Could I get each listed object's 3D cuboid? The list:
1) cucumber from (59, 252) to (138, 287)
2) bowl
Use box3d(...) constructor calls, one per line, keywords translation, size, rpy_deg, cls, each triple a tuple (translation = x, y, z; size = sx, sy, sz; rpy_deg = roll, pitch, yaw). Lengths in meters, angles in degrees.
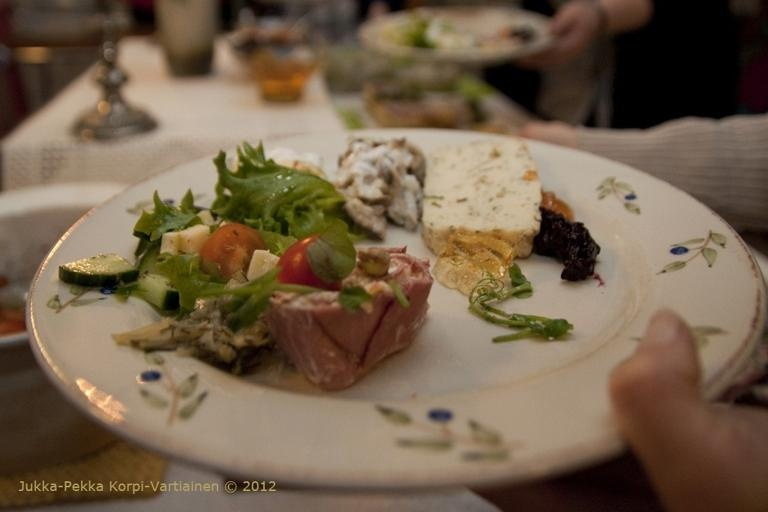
box3d(translation=(-1.329, 0.077, 3.367), size=(0.246, 0.088, 0.363), rpy_deg=(21, 23, 35), cls="cucumber")
box3d(translation=(-0.769, -1.352, 5.176), size=(0.576, 0.415, 0.577), rpy_deg=(-2, 8, 0), cls="bowl")
